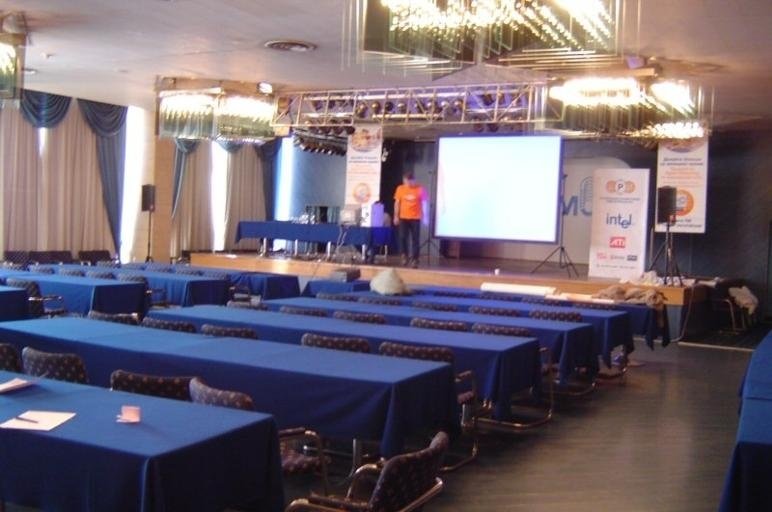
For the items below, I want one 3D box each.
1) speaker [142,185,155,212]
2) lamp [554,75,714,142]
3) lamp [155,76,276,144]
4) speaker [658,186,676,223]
[{"bbox_3d":[-5.092,-1.235,14.542,0.267,0.582,0.233,-1,15,-22],"label":"speaker"},{"bbox_3d":[3.556,-2.302,11.067,2.082,0.744,2.541,3,9,15],"label":"lamp"},{"bbox_3d":[-3.139,-2.856,12.449,2.217,1.060,1.289,-5,39,-37],"label":"lamp"},{"bbox_3d":[4.740,-0.872,11.535,0.346,0.607,0.316,14,16,32],"label":"speaker"}]
